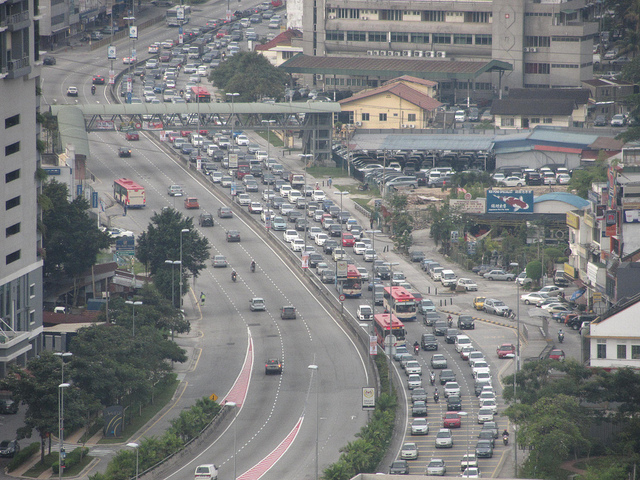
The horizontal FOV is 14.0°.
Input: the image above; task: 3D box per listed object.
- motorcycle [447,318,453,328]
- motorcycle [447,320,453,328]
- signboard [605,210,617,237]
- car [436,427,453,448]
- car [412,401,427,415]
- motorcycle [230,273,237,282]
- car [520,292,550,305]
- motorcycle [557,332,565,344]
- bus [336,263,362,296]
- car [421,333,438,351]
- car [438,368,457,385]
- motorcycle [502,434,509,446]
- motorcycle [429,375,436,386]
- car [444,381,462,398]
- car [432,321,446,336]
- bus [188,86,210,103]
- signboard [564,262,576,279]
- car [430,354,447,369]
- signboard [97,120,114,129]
[{"bbox_3d":[17.903,11.610,358.746,1.275,1.290,2.127,-1,-5,1],"label":"motorcycle"},{"bbox_3d":[17.849,11.750,358.331,1.031,1.174,3.048,0,-2,3],"label":"motorcycle"},{"bbox_3d":[40.229,-2.105,357.144,1.757,3.859,0.780,5,13,30],"label":"signboard"},{"bbox_3d":[15.673,25.191,327.647,2.342,1.928,4.465,0,0,8],"label":"car"},{"bbox_3d":[12.819,21.968,335.023,1.830,1.324,1.191,0,11,8],"label":"car"},{"bbox_3d":[-12.474,5.460,372.618,0.625,1.221,1.409,-2,10,-1],"label":"motorcycle"},{"bbox_3d":[30.531,8.498,369.737,3.863,1.431,2.041,1,11,10],"label":"car"},{"bbox_3d":[32.921,13.560,354.413,1.390,1.612,2.958,0,3,4],"label":"motorcycle"},{"bbox_3d":[4.192,6.075,368.979,2.970,4.188,5.429,2,11,16],"label":"bus"},{"bbox_3d":[14.689,14.165,352.322,1.874,1.881,1.769,-3,11,-11],"label":"car"},{"bbox_3d":[16.822,18.284,343.122,2.152,1.515,3.413,-1,0,-1],"label":"car"},{"bbox_3d":[23.494,25.351,328.151,0.688,1.311,1.372,0,11,8],"label":"motorcycle"},{"bbox_3d":[14.811,18.685,343.808,0.605,1.166,1.646,-1,10,4],"label":"motorcycle"},{"bbox_3d":[17.313,19.762,339.705,2.135,1.520,3.743,0,-2,2],"label":"car"},{"bbox_3d":[16.434,12.451,357.193,1.683,1.767,1.791,-1,11,4],"label":"car"},{"bbox_3d":[-21.455,-25.432,458.355,2.269,2.440,5.574,-1,20,-11],"label":"bus"},{"bbox_3d":[36.072,4.461,369.586,0.482,1.734,1.907,-14,-12,-8],"label":"signboard"},{"bbox_3d":[15.805,16.454,347.380,2.020,1.553,3.783,-1,0,-3],"label":"car"},{"bbox_3d":[-35.456,-18.812,424.795,2.571,1.586,2.327,-6,12,-26],"label":"signboard"}]
